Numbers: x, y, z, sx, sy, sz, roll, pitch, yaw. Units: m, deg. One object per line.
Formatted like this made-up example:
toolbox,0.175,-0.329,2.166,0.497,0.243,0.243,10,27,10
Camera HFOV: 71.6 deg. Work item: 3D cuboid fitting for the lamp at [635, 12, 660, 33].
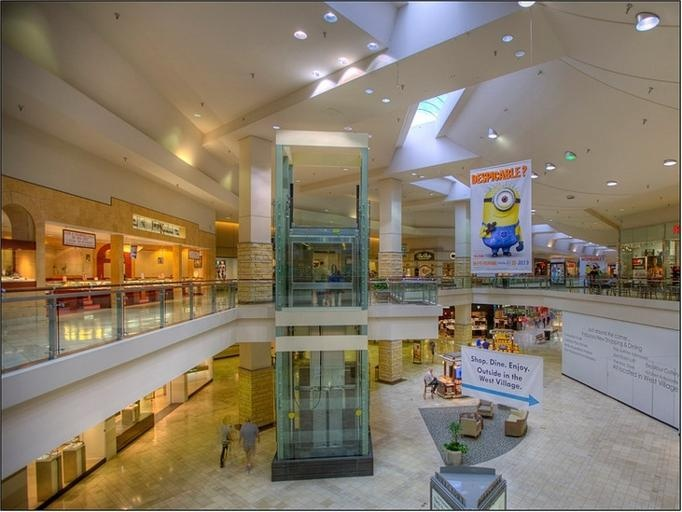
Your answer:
lamp,6.267,-4.780,9.689,0.423,0.361,0.595,-3,-4,33

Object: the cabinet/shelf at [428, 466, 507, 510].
cabinet/shelf,2.561,4.766,9.491,1.355,0.848,0.865,-2,-3,13

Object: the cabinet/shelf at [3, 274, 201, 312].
cabinet/shelf,-4.525,0.898,9.907,0.508,0.509,4.592,-3,-3,24

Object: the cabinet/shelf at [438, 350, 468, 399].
cabinet/shelf,4.280,4.628,18.681,0.925,1.705,1.954,-2,-3,13

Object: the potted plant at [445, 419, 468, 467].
potted plant,3.446,5.333,13.306,0.858,1.260,0.758,0,-5,-5

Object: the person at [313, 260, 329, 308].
person,-0.568,0.821,13.270,0.400,1.154,0.118,-1,-3,-14

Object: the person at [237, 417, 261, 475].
person,-2.597,5.275,13.451,0.516,1.330,0.797,0,-3,-24

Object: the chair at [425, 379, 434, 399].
chair,3.480,5.079,18.622,0.459,0.748,1.145,-2,-3,10
